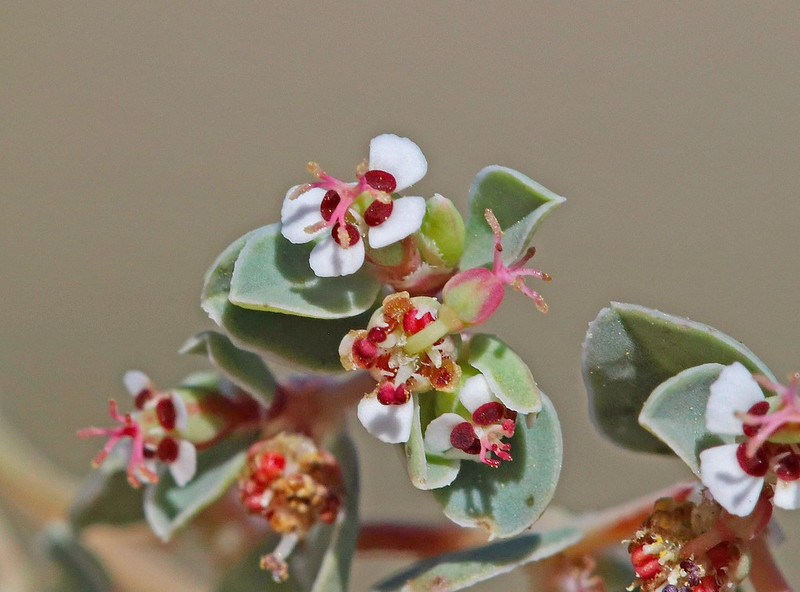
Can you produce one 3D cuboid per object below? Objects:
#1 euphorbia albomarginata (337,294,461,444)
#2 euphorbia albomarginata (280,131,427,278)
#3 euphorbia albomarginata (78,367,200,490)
[{"bbox_3d":[0.001,0.215,3.345,0.402,0.155,0.368,-35,77,-6],"label":"euphorbia albomarginata"},{"bbox_3d":[-0.137,-0.273,3.440,0.507,0.212,0.357,-27,76,-4],"label":"euphorbia albomarginata"},{"bbox_3d":[-0.852,0.473,3.628,0.395,0.243,0.348,22,78,8],"label":"euphorbia albomarginata"}]
